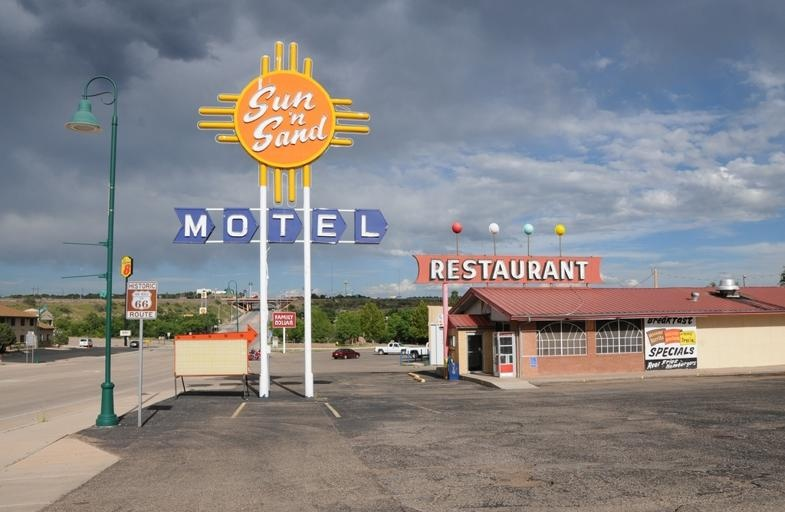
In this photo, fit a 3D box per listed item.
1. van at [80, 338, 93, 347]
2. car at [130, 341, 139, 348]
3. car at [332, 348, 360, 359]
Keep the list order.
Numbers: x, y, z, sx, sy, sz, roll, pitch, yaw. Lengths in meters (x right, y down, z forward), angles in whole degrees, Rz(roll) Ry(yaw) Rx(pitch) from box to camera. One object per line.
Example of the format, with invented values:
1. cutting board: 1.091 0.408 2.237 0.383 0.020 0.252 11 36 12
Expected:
1. van: -46.812 13.202 104.311 1.757 1.372 2.931 -1 -12 -4
2. car: -39.789 13.581 105.664 1.517 1.083 2.447 1 -9 -8
3. car: -5.180 10.687 75.105 2.724 1.057 2.513 -1 -7 -17
